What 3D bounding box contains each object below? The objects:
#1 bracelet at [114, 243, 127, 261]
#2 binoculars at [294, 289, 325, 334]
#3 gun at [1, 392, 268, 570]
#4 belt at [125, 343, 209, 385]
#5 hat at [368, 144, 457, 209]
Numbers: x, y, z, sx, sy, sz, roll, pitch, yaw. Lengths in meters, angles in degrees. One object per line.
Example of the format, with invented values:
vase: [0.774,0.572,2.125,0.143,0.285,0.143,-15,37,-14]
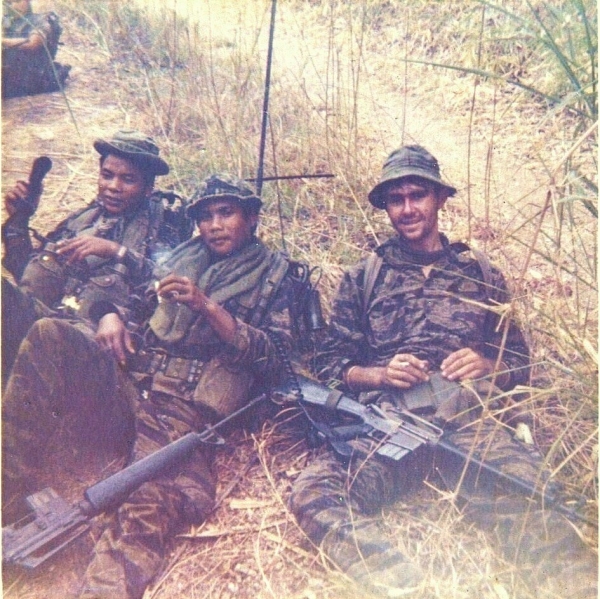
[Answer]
bracelet: [-1.031,-0.267,3.827,0.063,0.074,0.024,12,-6,10]
binoculars: [0.050,0.082,3.845,0.137,0.250,0.146,-10,-27,0]
gun: [-0.948,1.025,3.599,1.230,0.188,0.318,-31,36,-29]
belt: [-0.756,0.367,3.688,0.336,0.227,0.089,17,-11,4]
hat: [0.620,-0.751,3.801,0.359,0.241,0.400,-10,-15,32]
